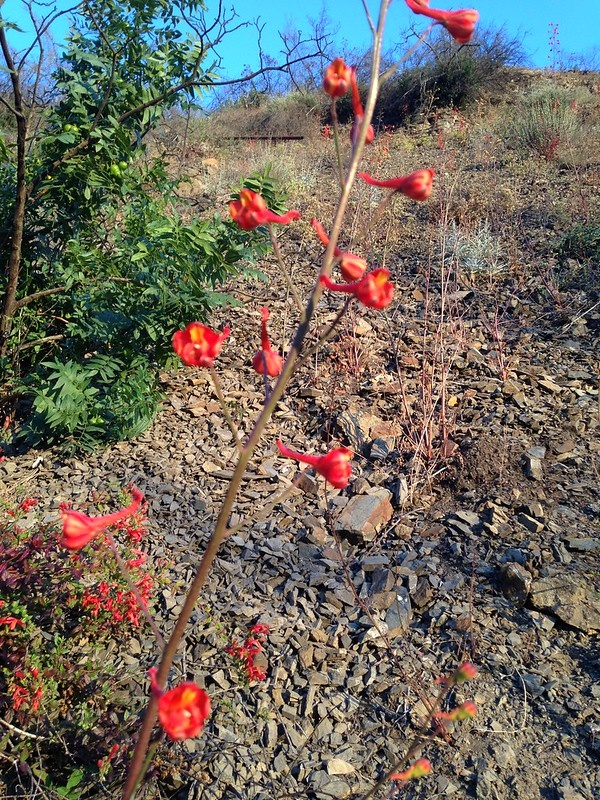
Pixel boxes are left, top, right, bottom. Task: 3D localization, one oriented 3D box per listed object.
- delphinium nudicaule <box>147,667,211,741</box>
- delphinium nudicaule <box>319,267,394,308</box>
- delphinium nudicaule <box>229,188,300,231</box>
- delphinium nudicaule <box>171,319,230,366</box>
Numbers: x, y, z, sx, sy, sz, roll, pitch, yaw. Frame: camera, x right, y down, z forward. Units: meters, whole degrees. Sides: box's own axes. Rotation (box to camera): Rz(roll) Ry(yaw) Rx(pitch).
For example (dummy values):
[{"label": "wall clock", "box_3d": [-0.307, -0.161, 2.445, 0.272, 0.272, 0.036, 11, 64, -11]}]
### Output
[{"label": "delphinium nudicaule", "box_3d": [-0.171, 0.456, 0.950, 0.074, 0.065, 0.068, -8, 24, -23]}, {"label": "delphinium nudicaule", "box_3d": [0.101, -0.191, 1.159, 0.130, 0.052, 0.072, 8, 31, 5]}, {"label": "delphinium nudicaule", "box_3d": [-0.067, -0.345, 1.224, 0.128, 0.064, 0.090, 1, 32, -9]}, {"label": "delphinium nudicaule", "box_3d": [-0.188, -0.109, 1.204, 0.089, 0.051, 0.100, 0, 54, 3]}]
